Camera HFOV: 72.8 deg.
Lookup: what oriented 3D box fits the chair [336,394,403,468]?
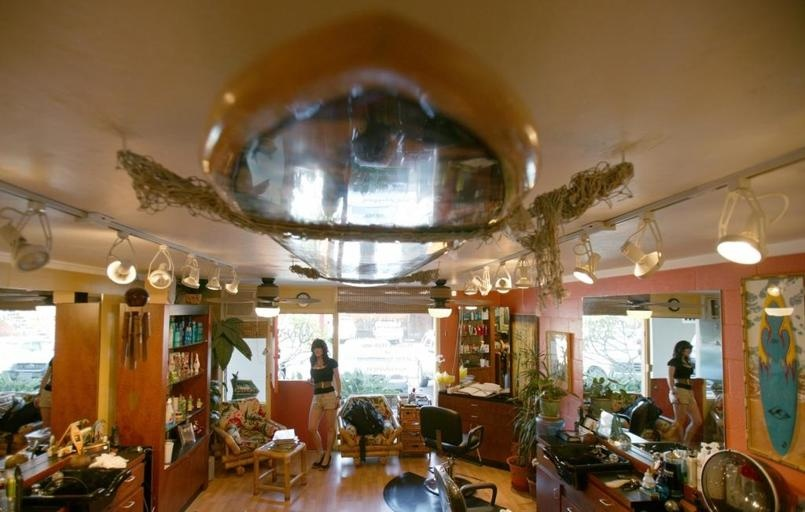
[{"bbox_3d":[-0.472,2.307,7.366,0.629,0.425,0.959,0,5,-1],"label":"chair"}]

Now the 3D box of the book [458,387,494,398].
[{"bbox_3d":[1.021,1.887,7.534,0.274,0.104,0.526,10,-14,-40],"label":"book"}]

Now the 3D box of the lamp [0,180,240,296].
[{"bbox_3d":[-2.034,0.023,4.260,0.708,0.435,2.700,-1,-11,11],"label":"lamp"}]

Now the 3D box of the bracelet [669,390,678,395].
[{"bbox_3d":[2.362,1.183,4.741,0.054,0.052,0.013,-21,-15,23],"label":"bracelet"}]

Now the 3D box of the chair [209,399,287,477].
[{"bbox_3d":[-2.165,2.463,7.451,0.957,0.837,0.781,12,-26,-37],"label":"chair"}]

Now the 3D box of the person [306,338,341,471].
[{"bbox_3d":[-1.102,2.035,7.711,0.423,1.655,1.141,2,-9,-7],"label":"person"}]

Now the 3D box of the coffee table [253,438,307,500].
[{"bbox_3d":[-1.523,2.577,6.683,0.604,0.586,0.603,-2,-10,10],"label":"coffee table"}]

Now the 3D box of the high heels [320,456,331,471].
[{"bbox_3d":[-1.012,2.714,7.279,0.123,0.175,0.332,1,-10,-3],"label":"high heels"}]

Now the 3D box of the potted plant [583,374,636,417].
[{"bbox_3d":[2.133,1.439,5.647,0.365,0.260,0.392,0,-6,11],"label":"potted plant"}]

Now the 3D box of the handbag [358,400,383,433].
[{"bbox_3d":[-0.417,2.145,7.337,0.291,0.360,0.122,19,-63,-42],"label":"handbag"}]
